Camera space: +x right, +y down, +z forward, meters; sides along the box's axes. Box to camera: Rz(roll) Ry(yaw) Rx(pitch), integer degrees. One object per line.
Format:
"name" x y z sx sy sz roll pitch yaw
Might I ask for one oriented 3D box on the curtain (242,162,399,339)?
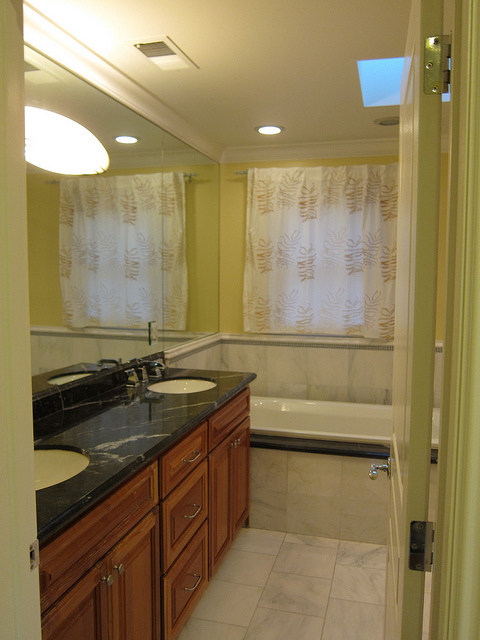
"curtain" 0.584 -0.511 3.649 1.169 1.307 0.111 3 7 18

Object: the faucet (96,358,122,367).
"faucet" -0.634 0.203 2.281 0.026 0.034 0.077 -17 -20 36

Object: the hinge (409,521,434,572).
"hinge" 0.291 0.367 0.779 0.042 0.085 0.045 4 -8 -4

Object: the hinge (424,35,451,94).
"hinge" 0.294 -0.383 0.713 0.028 0.078 0.052 -2 11 5
